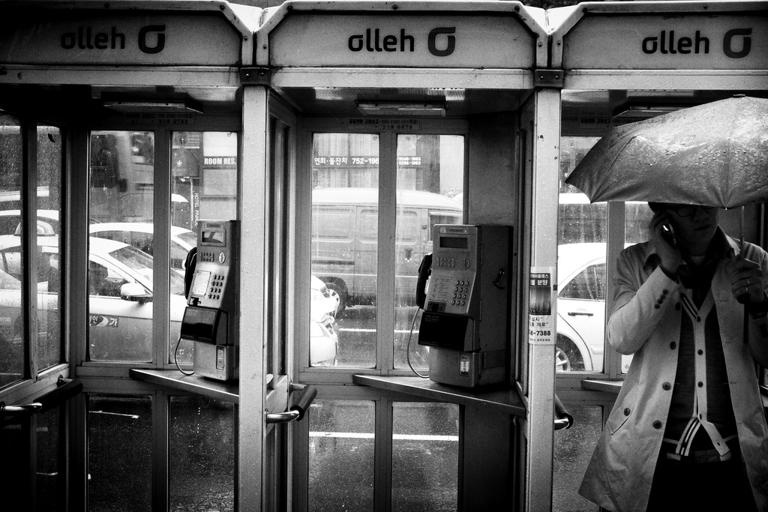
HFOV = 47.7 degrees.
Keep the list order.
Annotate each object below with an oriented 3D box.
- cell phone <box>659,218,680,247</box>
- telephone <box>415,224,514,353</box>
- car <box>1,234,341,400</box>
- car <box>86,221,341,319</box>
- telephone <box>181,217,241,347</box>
[{"bbox_3d":[1.584,-0.116,4.836,0.098,0.143,0.034,0,-26,-38],"label":"cell phone"},{"bbox_3d":[0.594,0.233,6.366,0.644,0.911,0.241,3,-2,1],"label":"telephone"},{"bbox_3d":[-1.584,0.417,6.680,2.288,0.812,1.026,0,9,-6],"label":"car"},{"bbox_3d":[-1.168,0.125,7.112,2.228,0.835,0.783,0,7,-1],"label":"car"},{"bbox_3d":[-1.293,0.201,6.497,0.416,0.923,0.186,2,-2,20],"label":"telephone"}]
